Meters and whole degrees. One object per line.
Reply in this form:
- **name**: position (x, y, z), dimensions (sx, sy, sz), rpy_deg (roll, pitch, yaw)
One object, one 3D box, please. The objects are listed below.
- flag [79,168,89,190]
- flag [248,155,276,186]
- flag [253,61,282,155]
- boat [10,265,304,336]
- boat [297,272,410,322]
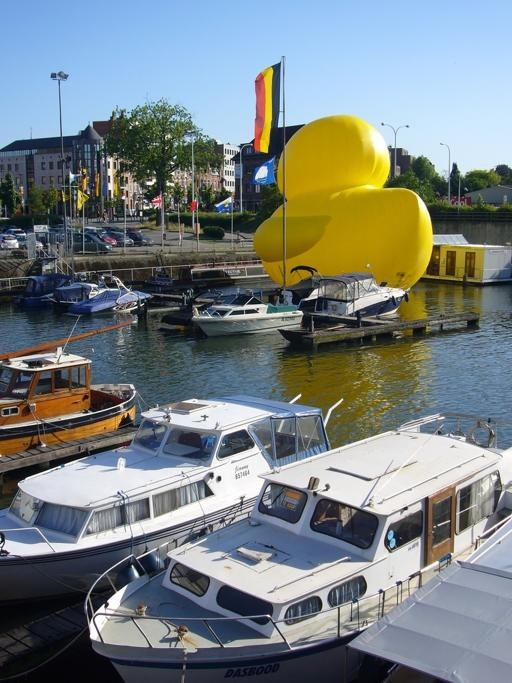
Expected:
- **flag**: position (-11.721, -10.798, 49.625), dimensions (0.488, 1.500, 1.512), rpy_deg (-3, 10, -12)
- **flag**: position (0.459, -9.014, 38.980), dimensions (1.010, 1.408, 2.786), rpy_deg (0, 10, 5)
- **flag**: position (0.510, -10.916, 34.673), dimensions (1.202, 4.062, 1.464), rpy_deg (-1, 11, 0)
- **boat**: position (-5.349, -2.909, 41.575), dimensions (15.427, 2.132, 22.491), rpy_deg (-2, 10, -9)
- **boat**: position (4.455, -2.011, 33.985), dimensions (4.734, 2.059, 1.588), rpy_deg (-5, 11, -22)
